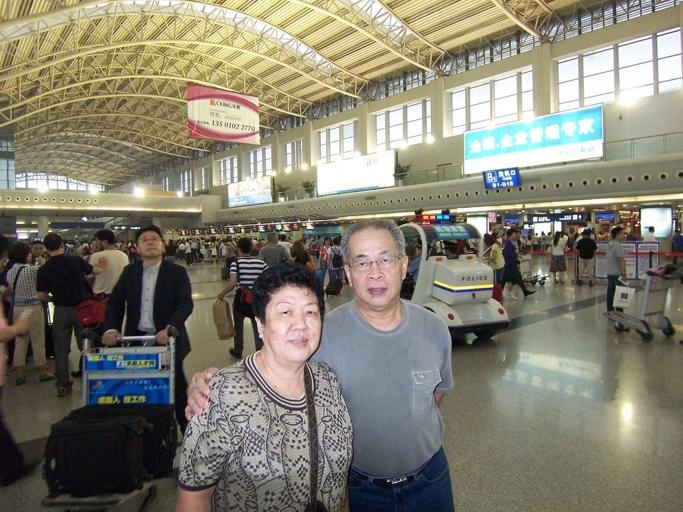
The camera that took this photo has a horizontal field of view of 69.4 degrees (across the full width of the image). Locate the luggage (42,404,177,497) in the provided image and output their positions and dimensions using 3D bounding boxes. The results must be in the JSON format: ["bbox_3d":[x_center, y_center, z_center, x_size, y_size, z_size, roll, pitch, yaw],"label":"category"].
[{"bbox_3d":[-1.892,1.415,4.102,0.762,0.586,0.765,0,-2,-1],"label":"luggage"}]

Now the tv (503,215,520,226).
[{"bbox_3d":[10.906,-2.332,31.674,0.967,0.658,2.422,1,9,17],"label":"tv"}]

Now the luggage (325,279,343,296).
[{"bbox_3d":[-0.181,0.819,12.802,0.378,0.321,0.579,31,18,0],"label":"luggage"}]

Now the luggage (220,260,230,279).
[{"bbox_3d":[-4.376,0.517,18.423,0.420,0.439,0.620,5,0,-16],"label":"luggage"}]

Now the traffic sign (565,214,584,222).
[{"bbox_3d":[12.304,-2.073,26.069,0.865,0.291,0.345,5,10,34],"label":"traffic sign"}]

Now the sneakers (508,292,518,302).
[{"bbox_3d":[4.176,0.988,11.949,0.336,0.243,0.124,0,3,-39],"label":"sneakers"}]

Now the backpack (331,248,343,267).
[{"bbox_3d":[-0.158,0.042,14.322,0.401,0.577,0.590,3,-28,-2],"label":"backpack"}]
